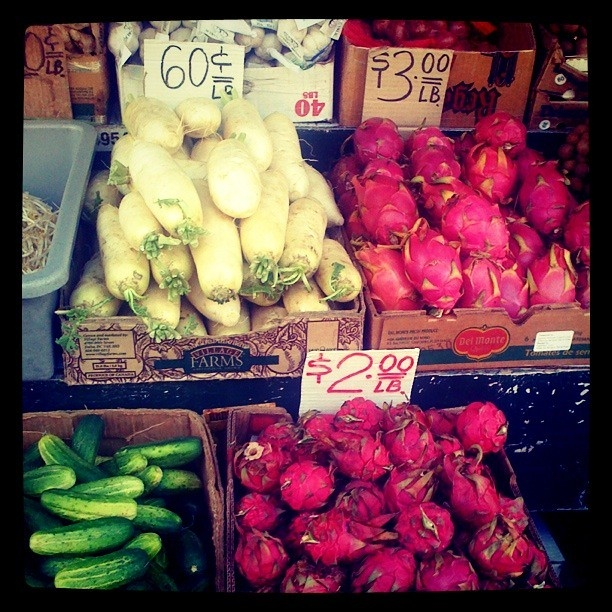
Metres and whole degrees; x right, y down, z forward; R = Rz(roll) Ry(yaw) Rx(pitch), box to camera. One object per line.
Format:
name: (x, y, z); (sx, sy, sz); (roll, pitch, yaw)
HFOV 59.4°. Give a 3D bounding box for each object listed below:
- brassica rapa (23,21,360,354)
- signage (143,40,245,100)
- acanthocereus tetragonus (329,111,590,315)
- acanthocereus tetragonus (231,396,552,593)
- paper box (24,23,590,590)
brassica rapa: (-0.287, -0.369, 1.768); (0.923, 0.922, 0.534); (2, 20, 0)
signage: (-0.378, -0.772, 1.748); (0.244, 0.183, 0.012); (-2, 40, -12)
acanthocereus tetragonus: (0.529, -0.321, 1.788); (0.621, 0.262, 0.864); (-1, 64, -6)
acanthocereus tetragonus: (0.249, 0.637, 1.728); (0.810, 0.265, 0.628); (0, 47, -3)
paper box: (0.142, -0.013, 2.349); (1.731, 0.488, 2.080); (8, 65, 0)
